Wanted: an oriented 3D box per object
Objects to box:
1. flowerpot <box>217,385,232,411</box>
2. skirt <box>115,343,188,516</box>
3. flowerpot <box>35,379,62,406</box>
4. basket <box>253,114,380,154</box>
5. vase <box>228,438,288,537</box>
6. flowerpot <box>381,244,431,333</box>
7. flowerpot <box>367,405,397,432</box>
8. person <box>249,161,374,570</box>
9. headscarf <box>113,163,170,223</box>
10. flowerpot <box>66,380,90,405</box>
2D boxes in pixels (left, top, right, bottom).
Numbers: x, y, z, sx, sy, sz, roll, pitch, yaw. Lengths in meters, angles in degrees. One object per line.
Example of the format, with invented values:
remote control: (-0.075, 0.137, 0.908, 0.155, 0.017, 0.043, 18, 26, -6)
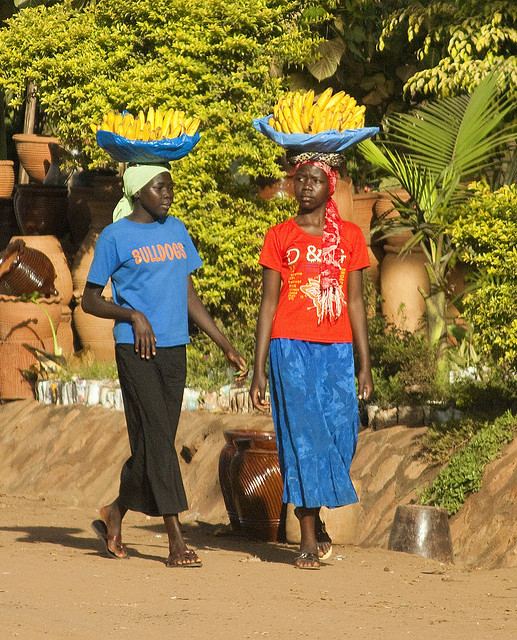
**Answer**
flowerpot: (-0.295, 0.647, 9.714, 0.135, 0.277, 0.141, 3, -9, -12)
skirt: (-0.530, 0.552, 5.866, 0.379, 0.853, 0.300, 2, 5, -7)
flowerpot: (-1.993, 0.690, 11.412, 0.234, 0.263, 0.240, 1, 2, 28)
basket: (0.292, -0.925, 6.099, 0.648, 0.161, 0.341, 4, 5, -1)
vase: (0.069, 1.015, 7.154, 0.474, 0.611, 0.455, 2, -7, -17)
flowerpot: (1.448, -0.316, 11.534, 0.453, 1.020, 0.472, -7, 8, -12)
flowerpot: (0.849, 0.685, 8.211, 0.157, 0.134, 0.156, 0, -1, -29)
person: (0.272, 0.210, 5.923, 0.584, 1.984, 0.488, 4, 5, 9)
headscarf: (-0.598, -0.638, 6.069, 0.256, 0.310, 0.176, 8, 5, 3)
flowerpot: (-1.638, 0.689, 10.945, 0.187, 0.226, 0.533, 1, 6, -23)
